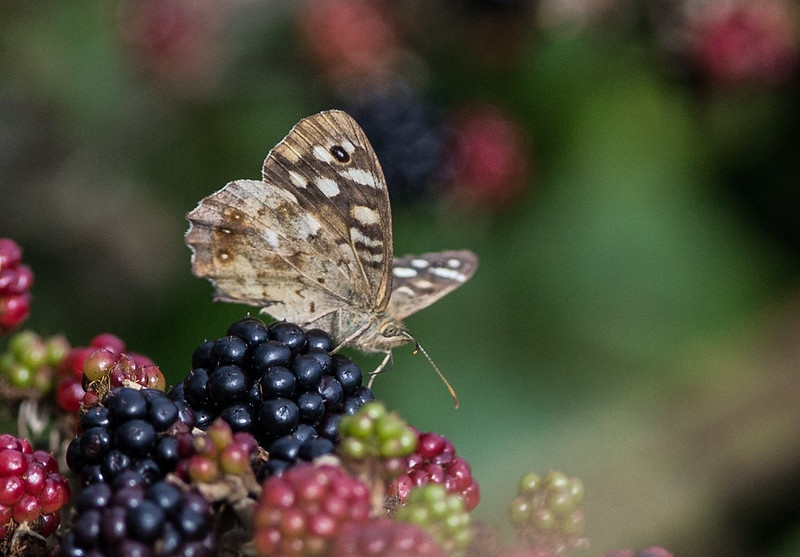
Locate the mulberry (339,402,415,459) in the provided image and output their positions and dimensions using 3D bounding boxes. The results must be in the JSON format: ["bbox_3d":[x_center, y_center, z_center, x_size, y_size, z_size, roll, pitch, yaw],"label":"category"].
[{"bbox_3d":[-0.088,0.569,3.248,0.281,0.219,0.143,-3,-18,-5],"label":"mulberry"}]

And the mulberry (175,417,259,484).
[{"bbox_3d":[-0.694,0.645,3.319,0.292,0.206,0.320,5,13,40],"label":"mulberry"}]

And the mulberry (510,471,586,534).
[{"bbox_3d":[0.586,0.903,3.507,0.301,0.254,0.112,-6,-18,4],"label":"mulberry"}]
